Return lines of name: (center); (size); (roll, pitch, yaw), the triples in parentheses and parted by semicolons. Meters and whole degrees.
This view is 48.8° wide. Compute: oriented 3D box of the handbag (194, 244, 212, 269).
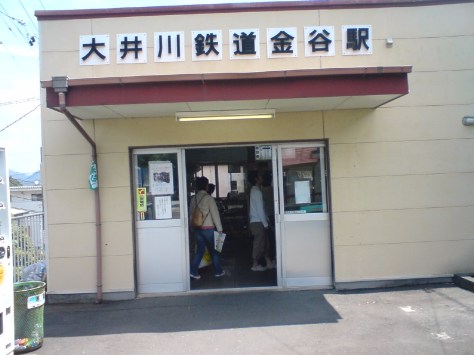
handbag: (-0.712, 1.715, 11.159); (0.227, 0.490, 0.284); (6, 13, 6)

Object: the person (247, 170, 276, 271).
person: (0.501, 0.917, 11.058); (0.493, 2.098, 0.751); (-3, -2, 3)

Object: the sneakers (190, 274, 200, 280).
sneakers: (-0.840, 1.996, 10.538); (0.205, 0.144, 0.284); (-3, -3, -5)

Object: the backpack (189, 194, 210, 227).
backpack: (-0.734, 0.681, 10.548); (0.368, 0.684, 0.325); (6, -8, -18)

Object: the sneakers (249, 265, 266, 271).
sneakers: (0.472, 1.906, 10.953); (0.256, 0.116, 0.135); (-2, -4, 1)
